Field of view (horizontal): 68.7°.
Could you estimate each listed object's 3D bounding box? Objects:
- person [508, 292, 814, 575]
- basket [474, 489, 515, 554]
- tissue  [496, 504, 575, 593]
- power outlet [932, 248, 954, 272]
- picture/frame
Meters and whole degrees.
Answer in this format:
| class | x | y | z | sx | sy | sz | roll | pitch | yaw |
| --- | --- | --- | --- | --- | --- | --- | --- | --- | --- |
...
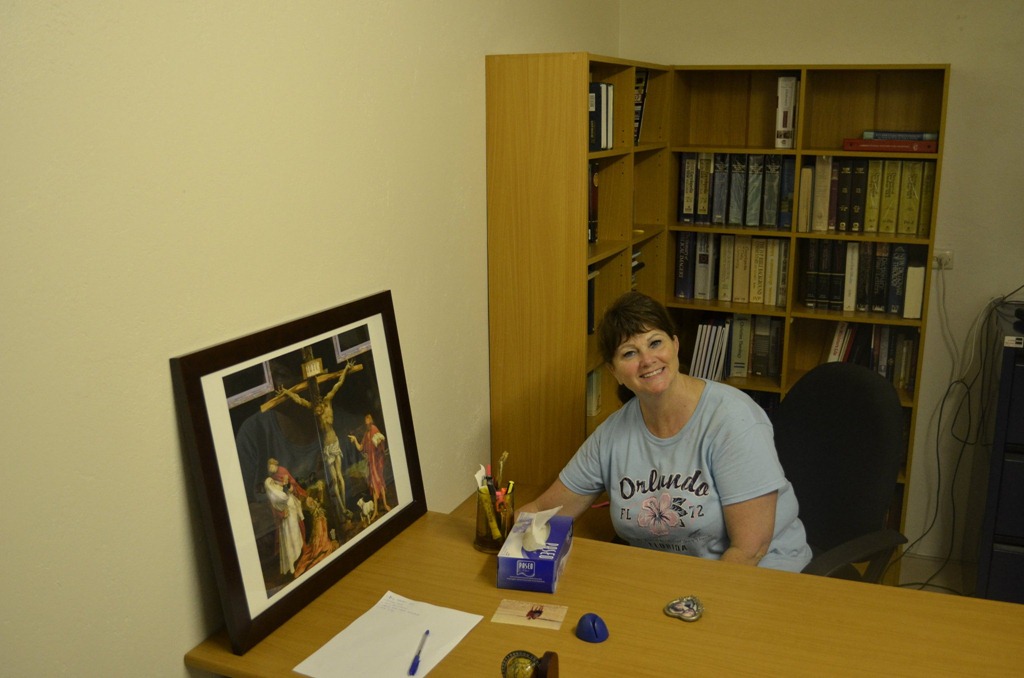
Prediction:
| class | x | y | z | sx | sy | sz | roll | pitch | yaw |
| --- | --- | --- | --- | --- | --- | --- | --- | --- | --- |
| person | 0.576 | 0.308 | 2.793 | 1.020 | 0.940 | 0.750 | -23 | 5 | -41 |
| basket | -0.061 | 0.549 | 2.275 | 0.151 | 0.237 | 0.140 | 0 | 1 | -6 |
| tissue  | 0.066 | 0.557 | 2.147 | 0.178 | 0.127 | 0.272 | 1 | 10 | 14 |
| power outlet | 2.147 | -0.394 | 3.743 | 0.106 | 0.103 | 0.100 | 0 | 6 | 13 |
| picture/frame | -0.606 | 0.378 | 2.033 | 0.044 | 0.775 | 0.812 | -4 | 11 | 31 |
